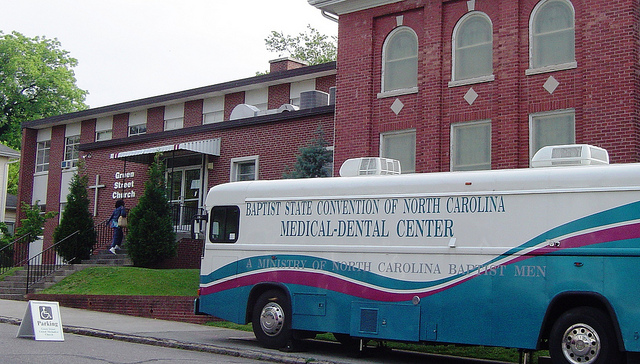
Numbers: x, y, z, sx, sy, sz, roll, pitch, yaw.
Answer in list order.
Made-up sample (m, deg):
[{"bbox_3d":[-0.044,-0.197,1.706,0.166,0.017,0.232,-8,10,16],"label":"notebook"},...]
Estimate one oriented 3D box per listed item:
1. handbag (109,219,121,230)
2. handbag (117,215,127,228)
[{"bbox_3d":[-9.599,2.003,31.316,0.515,0.452,0.454,0,-11,-16],"label":"handbag"},{"bbox_3d":[-9.230,1.846,31.135,0.200,0.455,0.562,-17,-23,42],"label":"handbag"}]
